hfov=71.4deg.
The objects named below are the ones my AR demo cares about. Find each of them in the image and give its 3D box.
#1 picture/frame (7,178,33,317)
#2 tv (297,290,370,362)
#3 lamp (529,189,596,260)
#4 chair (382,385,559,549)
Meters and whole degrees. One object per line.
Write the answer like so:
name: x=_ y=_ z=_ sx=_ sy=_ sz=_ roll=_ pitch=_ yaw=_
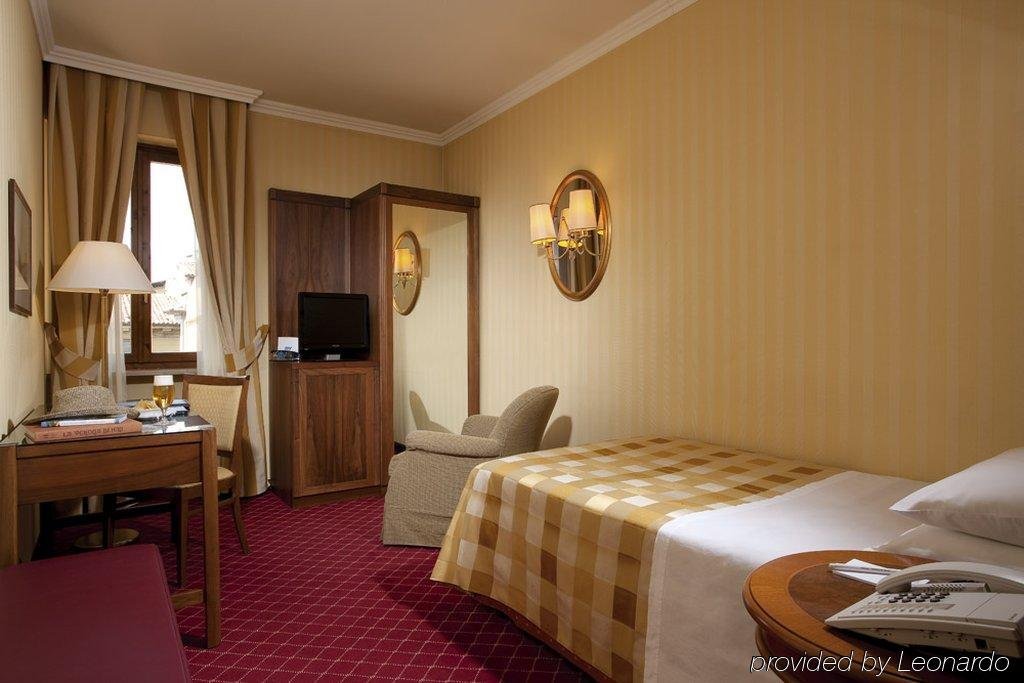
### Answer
picture/frame: x=-2.754 y=-0.513 z=3.957 sx=0.035 sy=0.618 sz=0.888 roll=-1 pitch=1 yaw=-27
tv: x=-1.505 y=-0.120 z=5.901 sx=0.610 sy=0.583 sz=0.214 roll=0 pitch=0 yaw=-26
lamp: x=0.399 y=-0.847 z=5.250 sx=0.465 sy=0.412 sz=0.591 roll=-1 pitch=-5 yaw=-29
chair: x=-0.138 y=0.842 z=5.087 sx=1.154 sy=1.057 sz=1.082 roll=0 pitch=-4 yaw=28
